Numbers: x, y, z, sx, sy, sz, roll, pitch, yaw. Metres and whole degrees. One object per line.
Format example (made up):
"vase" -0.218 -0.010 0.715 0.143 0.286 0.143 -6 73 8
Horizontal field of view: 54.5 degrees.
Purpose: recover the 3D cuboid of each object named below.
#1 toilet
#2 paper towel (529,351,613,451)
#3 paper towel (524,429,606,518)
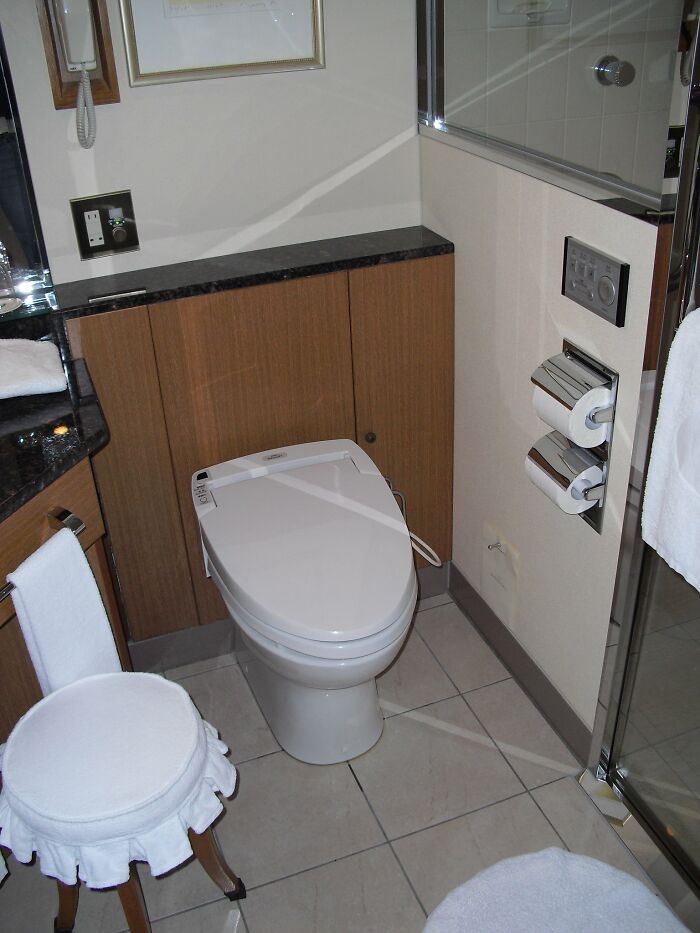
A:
"toilet" -0.072 0.327 1.390 0.337 0.564 0.468 -17 44 -21
"paper towel" 0.329 -0.086 1.017 0.079 0.120 0.128 -12 27 -12
"paper towel" 0.327 0.009 1.066 0.097 0.109 0.138 -25 40 -21
